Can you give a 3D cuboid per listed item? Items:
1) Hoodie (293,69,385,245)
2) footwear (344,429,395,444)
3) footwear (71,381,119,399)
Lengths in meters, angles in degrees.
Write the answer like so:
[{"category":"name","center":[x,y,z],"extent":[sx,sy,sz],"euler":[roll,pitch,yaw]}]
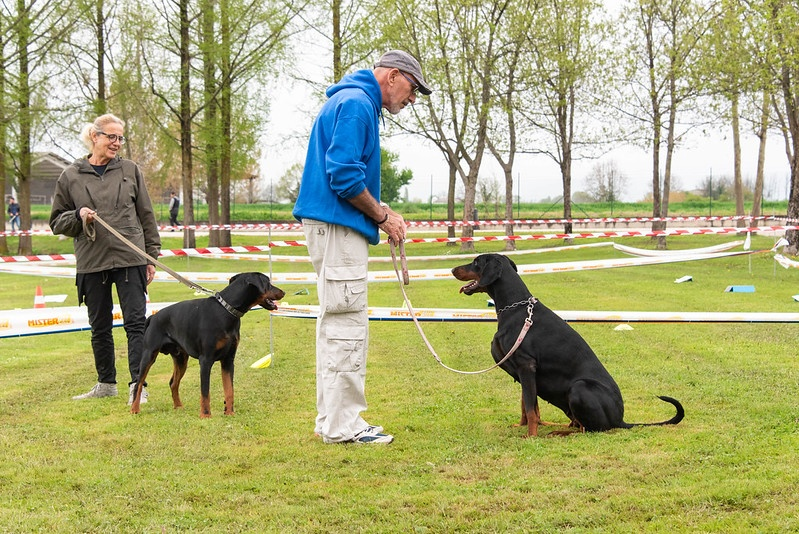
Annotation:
[{"category":"Hoodie","center":[-0.911,-1.690,15.169],"extent":[1.295,2.714,0.562],"euler":[-2,3,-1]},{"category":"footwear","center":[-0.483,2.619,15.268],"extent":[0.687,0.267,0.264],"euler":[-1,-1,1]},{"category":"footwear","center":[-5.222,2.099,16.611],"extent":[0.772,0.324,0.254],"euler":[3,-2,-5]}]
